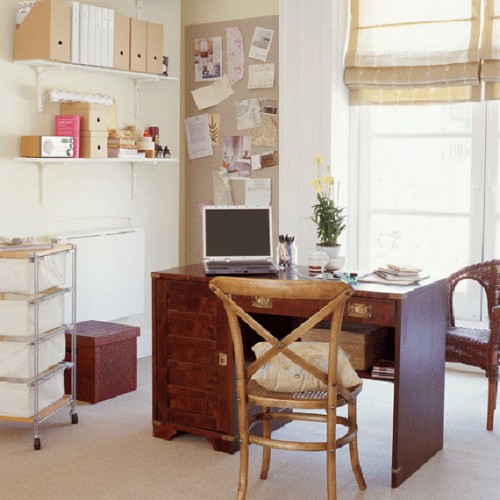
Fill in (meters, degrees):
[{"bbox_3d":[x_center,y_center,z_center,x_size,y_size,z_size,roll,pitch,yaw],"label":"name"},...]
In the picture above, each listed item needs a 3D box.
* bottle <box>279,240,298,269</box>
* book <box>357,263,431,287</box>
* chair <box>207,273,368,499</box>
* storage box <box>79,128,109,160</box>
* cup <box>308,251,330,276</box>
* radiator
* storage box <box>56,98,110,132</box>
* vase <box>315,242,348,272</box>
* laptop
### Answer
[{"bbox_3d":[0.176,0.024,2.359,0.098,0.169,0.112,0,-2,-3],"label":"bottle"},{"bbox_3d":[0.598,0.099,2.086,0.283,0.071,0.358,0,1,21],"label":"book"},{"bbox_3d":[0.156,0.489,1.747,0.481,0.815,0.629,0,1,14],"label":"chair"},{"bbox_3d":[-0.938,-0.624,2.982,0.156,0.180,0.119,0,1,-24],"label":"storage box"},{"bbox_3d":[0.312,0.053,2.232,0.101,0.116,0.069,0,0,15],"label":"cup"},{"bbox_3d":[-0.954,0.169,3.054,0.201,0.652,0.668,0,2,28],"label":"radiator"},{"bbox_3d":[-0.994,-0.788,2.970,0.274,0.191,0.209,0,1,-22],"label":"storage box"},{"bbox_3d":[0.383,0.033,2.374,0.122,0.113,0.102,-2,1,28],"label":"vase"},{"bbox_3d":[-0.053,-0.047,2.268,0.316,0.316,0.297,-1,1,-7],"label":"laptop"}]
